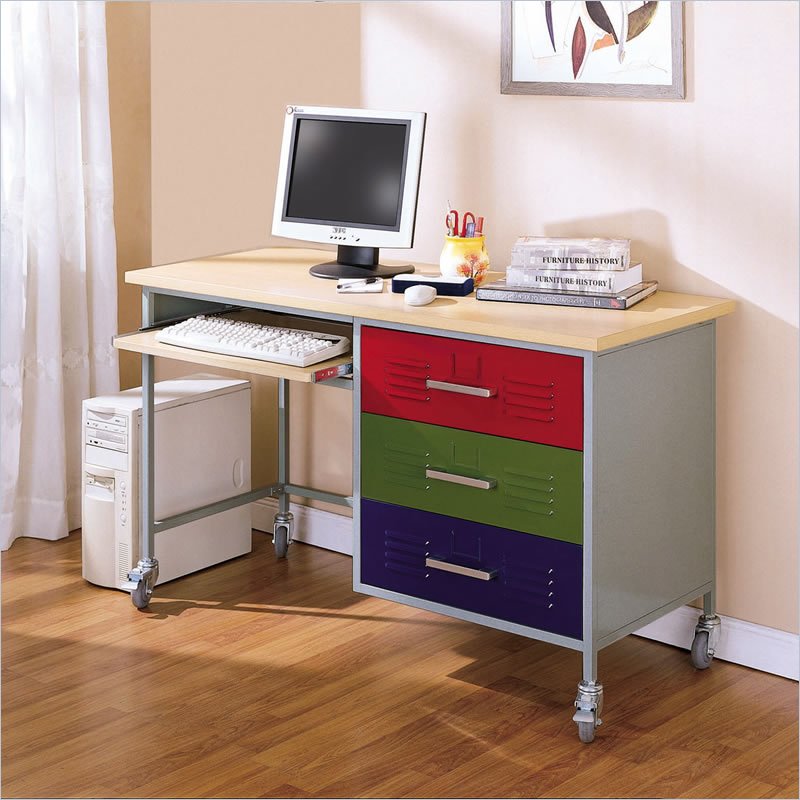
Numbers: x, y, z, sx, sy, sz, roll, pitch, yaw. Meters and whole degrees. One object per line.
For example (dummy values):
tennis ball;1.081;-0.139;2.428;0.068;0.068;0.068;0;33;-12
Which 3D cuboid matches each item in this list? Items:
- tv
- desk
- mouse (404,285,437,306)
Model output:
tv;-0.118;-0.539;2.076;0.456;0.492;0.260;7;10;31
desk;-0.030;0.127;1.904;1.192;0.762;0.643;8;13;29
mouse;0.051;-0.224;1.670;0.039;0.035;0.056;11;20;26
